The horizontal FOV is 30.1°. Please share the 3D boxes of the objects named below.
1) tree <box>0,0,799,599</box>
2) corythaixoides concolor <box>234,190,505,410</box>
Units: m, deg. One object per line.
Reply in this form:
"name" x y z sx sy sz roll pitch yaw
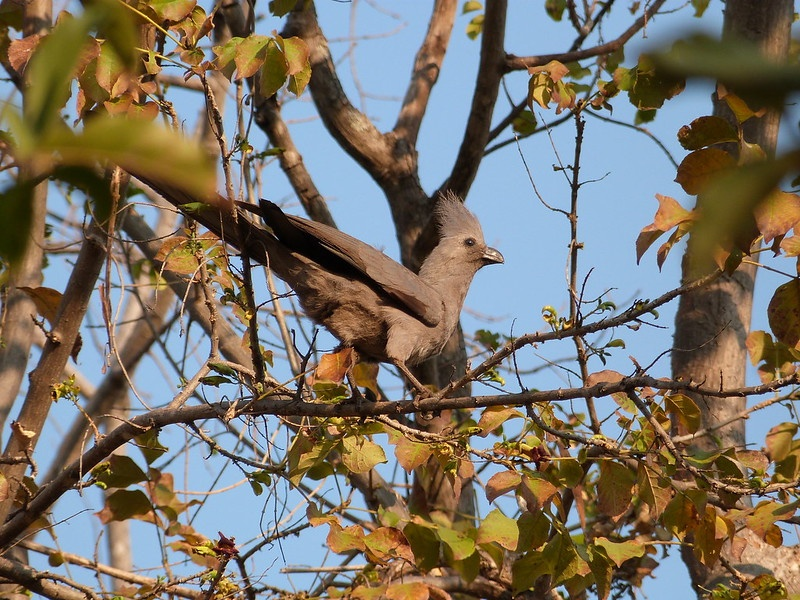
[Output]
"tree" 0.009 0.211 7.721 3.948 2.950 1.180 0 -82 5
"corythaixoides concolor" -0.205 -0.104 8.707 1.940 1.396 0.589 14 -24 -33
